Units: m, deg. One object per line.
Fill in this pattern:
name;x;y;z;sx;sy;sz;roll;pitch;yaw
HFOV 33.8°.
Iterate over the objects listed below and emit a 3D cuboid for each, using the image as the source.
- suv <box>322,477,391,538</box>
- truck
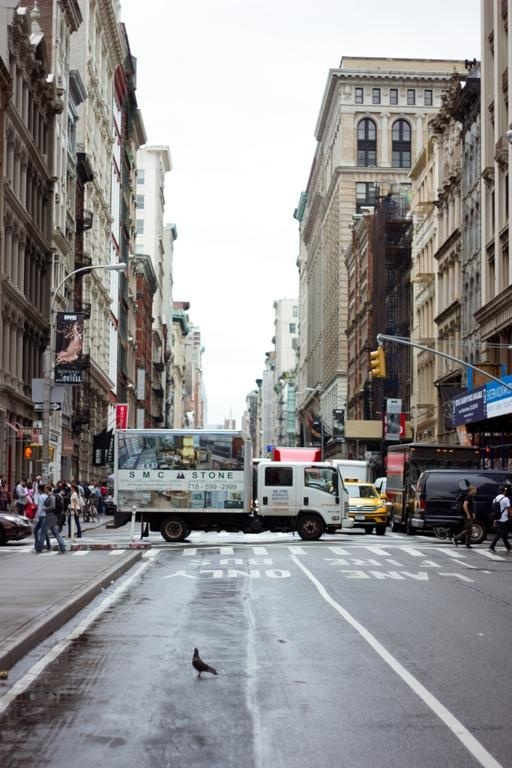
suv;5.102;5.814;39.352;2.032;2.667;5.766;1;-6;0
truck;-1.282;3.878;32.475;9.262;6.599;4.116;-1;-3;-3
